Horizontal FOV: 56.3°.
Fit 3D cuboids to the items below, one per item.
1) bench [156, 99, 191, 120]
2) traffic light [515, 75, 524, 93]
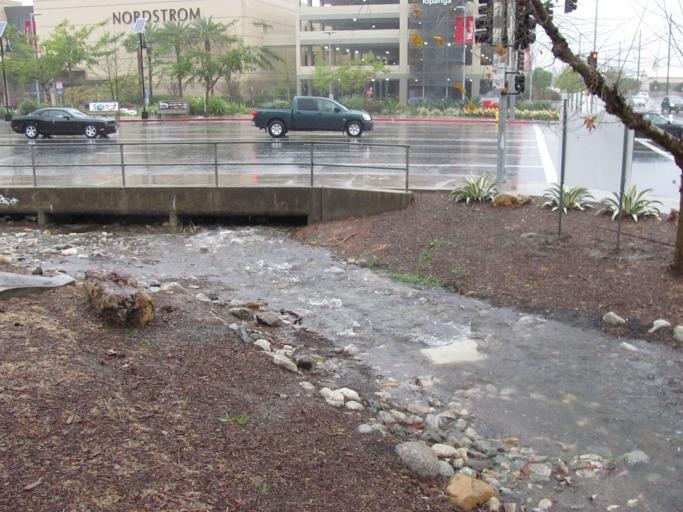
[{"bbox_3d":[-14.023,-12.161,52.959,2.432,1.478,1.531,-2,10,-17],"label":"bench"},{"bbox_3d":[4.504,-4.348,16.057,0.196,0.463,0.610,5,10,23],"label":"traffic light"}]
